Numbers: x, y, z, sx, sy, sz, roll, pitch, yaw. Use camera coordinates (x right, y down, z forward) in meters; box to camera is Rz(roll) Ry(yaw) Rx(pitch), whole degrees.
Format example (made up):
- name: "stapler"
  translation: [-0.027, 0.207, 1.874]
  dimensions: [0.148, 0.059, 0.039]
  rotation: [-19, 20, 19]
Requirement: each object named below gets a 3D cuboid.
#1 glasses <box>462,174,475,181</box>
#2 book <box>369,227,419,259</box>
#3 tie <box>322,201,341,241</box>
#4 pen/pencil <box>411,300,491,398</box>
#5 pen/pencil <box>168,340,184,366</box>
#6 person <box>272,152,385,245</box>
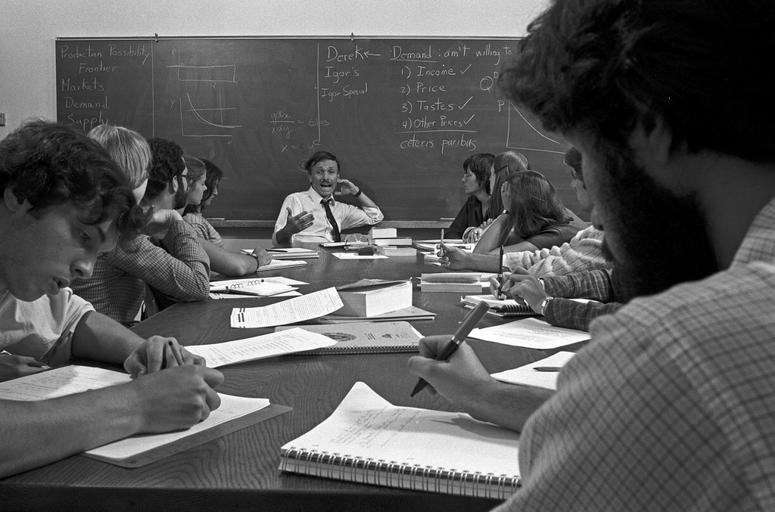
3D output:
- name: "glasses"
  translation: [0.593, -0.577, 4.469]
  dimensions: [0.047, 0.023, 0.062]
  rotation: [4, -3, -9]
- name: "book"
  translation: [0.025, -0.079, 3.652]
  dimensions: [0.223, 0.103, 0.307]
  rotation: [0, 8, -3]
- name: "tie"
  translation: [-0.416, -0.262, 4.526]
  dimensions: [0.097, 0.372, 0.064]
  rotation: [-12, -8, 0]
- name: "pen/pencil"
  translation: [0.122, 0.181, 1.183]
  dimensions: [0.026, 0.183, 0.020]
  rotation: [36, 13, 0]
- name: "pen/pencil"
  translation: [-0.407, 0.185, 1.176]
  dimensions: [0.022, 0.024, 0.087]
  rotation: [-11, 26, -14]
- name: "person"
  translation: [-0.503, -0.409, 4.407]
  dimensions: [0.627, 0.648, 0.989]
  rotation: [4, 14, 21]
